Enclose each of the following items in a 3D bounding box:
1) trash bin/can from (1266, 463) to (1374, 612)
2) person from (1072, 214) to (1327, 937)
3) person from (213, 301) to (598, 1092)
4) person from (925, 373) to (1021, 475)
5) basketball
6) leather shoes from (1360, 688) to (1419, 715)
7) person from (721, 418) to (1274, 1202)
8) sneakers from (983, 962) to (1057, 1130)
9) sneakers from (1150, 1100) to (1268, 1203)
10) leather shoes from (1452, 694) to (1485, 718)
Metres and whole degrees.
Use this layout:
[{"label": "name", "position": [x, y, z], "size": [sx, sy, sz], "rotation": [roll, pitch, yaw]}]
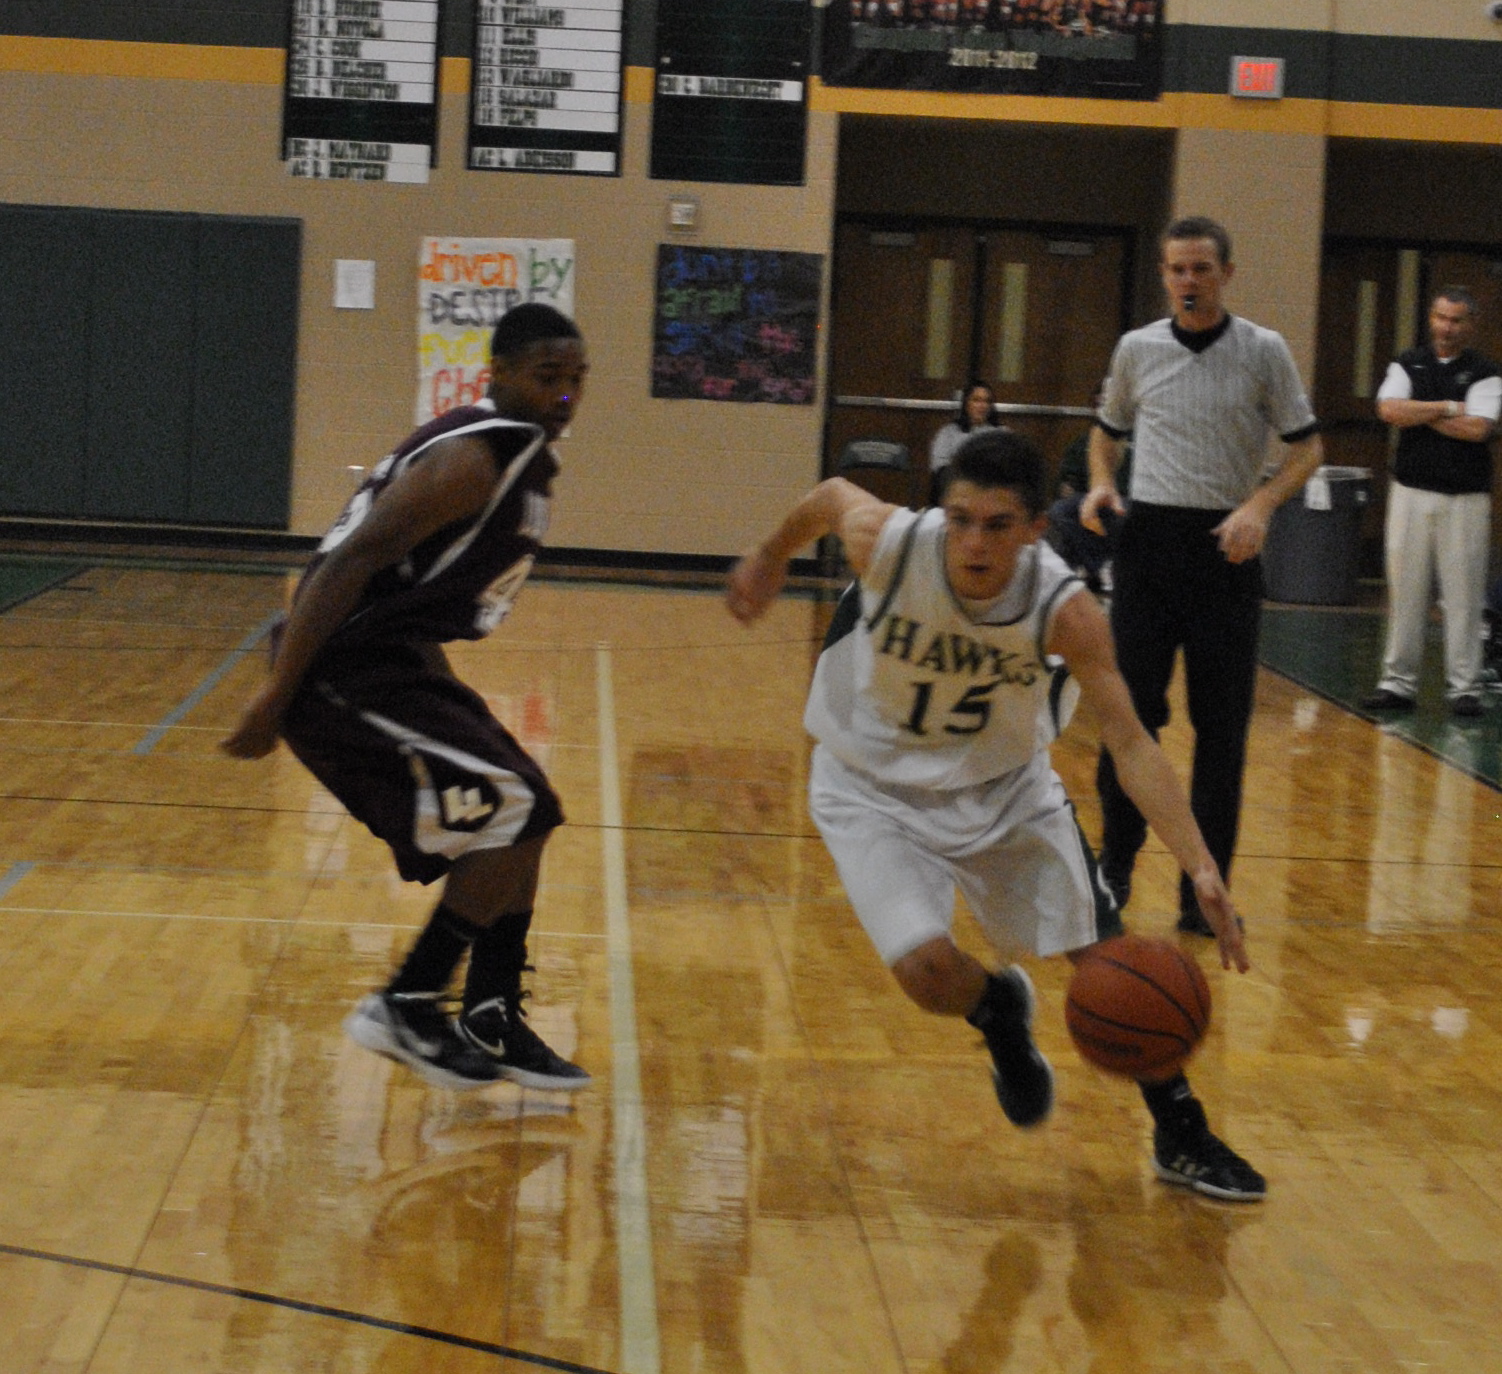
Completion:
[{"label": "trash bin/can", "position": [4.535, -1.198, 11.208], "size": [0.929, 1.012, 0.885], "rotation": [-11, 7, -33]}, {"label": "person", "position": [1.175, -0.300, 3.697], "size": [0.654, 1.850, 0.539], "rotation": [1, 6, 17]}, {"label": "person", "position": [-0.559, 0.024, 2.398], "size": [0.591, 1.350, 0.304], "rotation": [1, 8, -19]}, {"label": "person", "position": [1.660, -1.865, 10.609], "size": [0.596, 0.860, 0.500], "rotation": [5, 1, -2]}, {"label": "basketball", "position": [0.580, 0.477, 2.207], "size": [0.217, 0.213, 0.221], "rotation": [-4, -8, 42]}, {"label": "leather shoes", "position": [3.178, 0.063, 7.068], "size": [0.364, 0.155, 0.131], "rotation": [0, 4, -2]}, {"label": "person", "position": [0.343, 0.227, 2.401], "size": [0.871, 1.289, 0.481], "rotation": [-1, 9, 23]}, {"label": "sneakers", "position": [0.441, 0.598, 2.407], "size": [0.108, 0.288, 0.113], "rotation": [-2, 21, 35]}, {"label": "sneakers", "position": [0.732, 0.764, 2.360], "size": [0.238, 0.157, 0.091], "rotation": [1, -1, 33]}, {"label": "leather shoes", "position": [3.497, 0.088, 6.939], "size": [0.134, 0.110, 0.109], "rotation": [-1, -1, 6]}]
